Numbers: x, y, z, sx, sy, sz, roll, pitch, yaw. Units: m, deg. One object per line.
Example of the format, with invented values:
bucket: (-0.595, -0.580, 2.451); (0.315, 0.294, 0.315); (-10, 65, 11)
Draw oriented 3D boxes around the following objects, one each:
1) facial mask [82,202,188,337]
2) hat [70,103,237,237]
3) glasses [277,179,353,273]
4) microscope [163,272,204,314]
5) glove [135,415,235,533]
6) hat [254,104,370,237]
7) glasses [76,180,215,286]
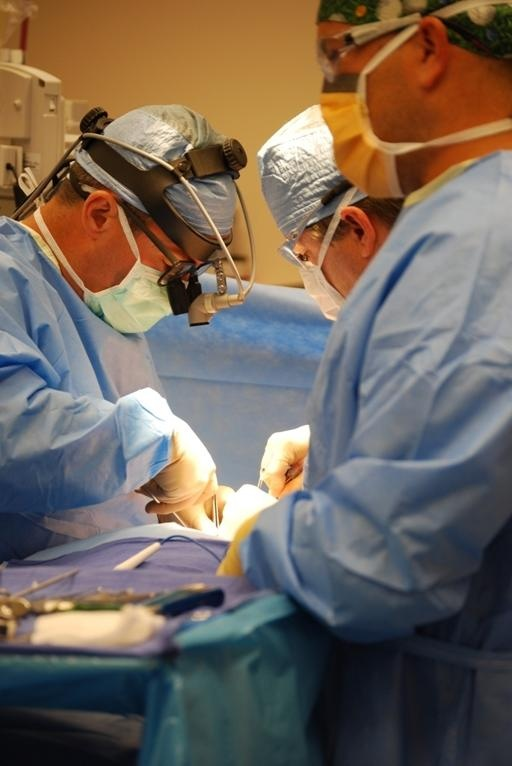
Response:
facial mask: (-0.273, -0.255, 1.595); (0.156, 0.234, 0.209); (-16, 4, 28)
hat: (-0.206, -0.477, 1.590); (0.365, 0.268, 0.267); (21, 20, 13)
glasses: (0.105, -0.286, 1.274); (0.064, 0.156, 0.120); (52, 15, 30)
microscope: (-0.161, -0.202, 1.567); (0.044, 0.114, 0.092); (2, 15, 32)
glove: (-0.156, 0.218, 1.572); (0.198, 0.266, 0.124); (18, 45, 6)
hat: (0.096, -0.389, 1.384); (0.220, 0.155, 0.148); (-23, 0, -22)
glasses: (-0.200, -0.355, 1.543); (0.076, 0.242, 0.237); (-37, -7, -3)
